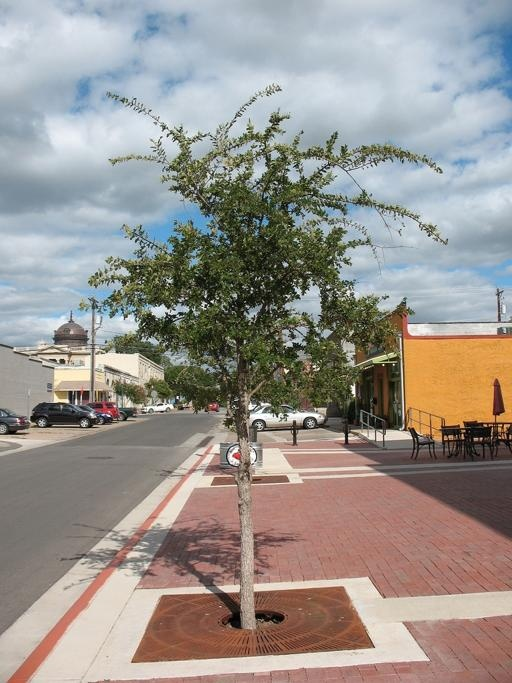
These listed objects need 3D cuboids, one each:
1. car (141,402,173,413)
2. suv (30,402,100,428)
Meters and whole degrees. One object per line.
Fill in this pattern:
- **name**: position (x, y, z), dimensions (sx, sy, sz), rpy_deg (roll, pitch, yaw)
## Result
- **car**: position (-14.505, 9.945, 85.357), dimensions (3.547, 1.117, 1.689), rpy_deg (4, -10, -16)
- **suv**: position (-12.777, 4.979, 38.293), dimensions (4.043, 1.452, 1.821), rpy_deg (-1, -6, 1)
